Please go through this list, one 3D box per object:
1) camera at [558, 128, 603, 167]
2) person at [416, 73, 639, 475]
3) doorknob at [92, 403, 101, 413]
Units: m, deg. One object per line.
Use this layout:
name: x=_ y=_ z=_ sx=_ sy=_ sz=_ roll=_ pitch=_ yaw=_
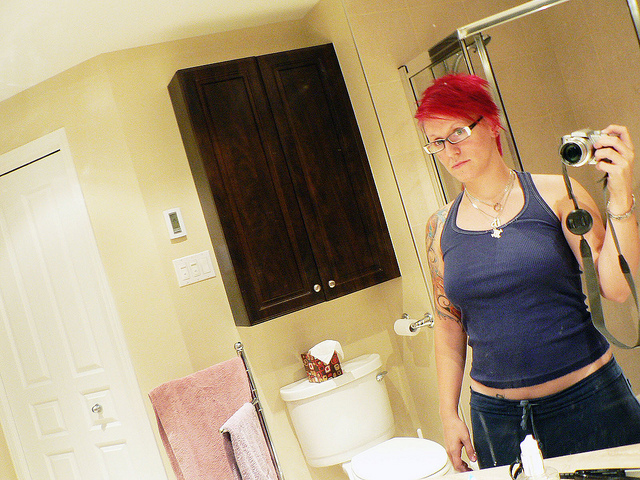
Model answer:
camera: x=0.638 y=-0.219 z=1.420 sx=0.116 sy=0.075 sz=0.099 roll=5 pitch=2 yaw=40
person: x=0.595 y=0.054 z=1.571 sx=0.608 sy=1.049 sz=0.227 roll=-17 pitch=3 yaw=23
doorknob: x=-1.113 y=0.839 z=2.799 sx=0.035 sy=0.024 sz=0.034 roll=-9 pitch=38 yaw=-10
